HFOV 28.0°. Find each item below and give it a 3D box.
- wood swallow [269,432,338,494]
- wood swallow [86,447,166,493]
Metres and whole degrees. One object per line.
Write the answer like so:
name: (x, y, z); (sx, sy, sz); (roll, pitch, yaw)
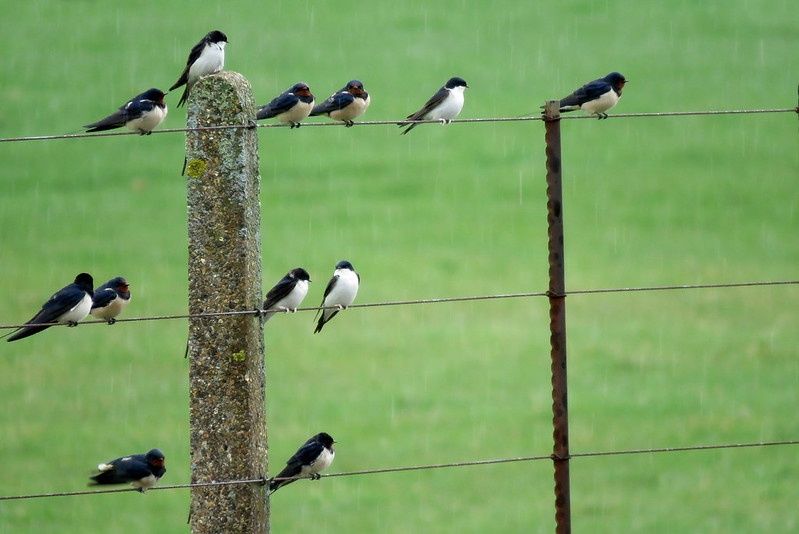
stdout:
wood swallow: (-1.296, 2.747, 22.596); (0.634, 0.706, 1.325); (0, -4, 8)
wood swallow: (-3.763, 2.804, 22.440); (1.034, 0.688, 0.657); (14, 9, 19)
